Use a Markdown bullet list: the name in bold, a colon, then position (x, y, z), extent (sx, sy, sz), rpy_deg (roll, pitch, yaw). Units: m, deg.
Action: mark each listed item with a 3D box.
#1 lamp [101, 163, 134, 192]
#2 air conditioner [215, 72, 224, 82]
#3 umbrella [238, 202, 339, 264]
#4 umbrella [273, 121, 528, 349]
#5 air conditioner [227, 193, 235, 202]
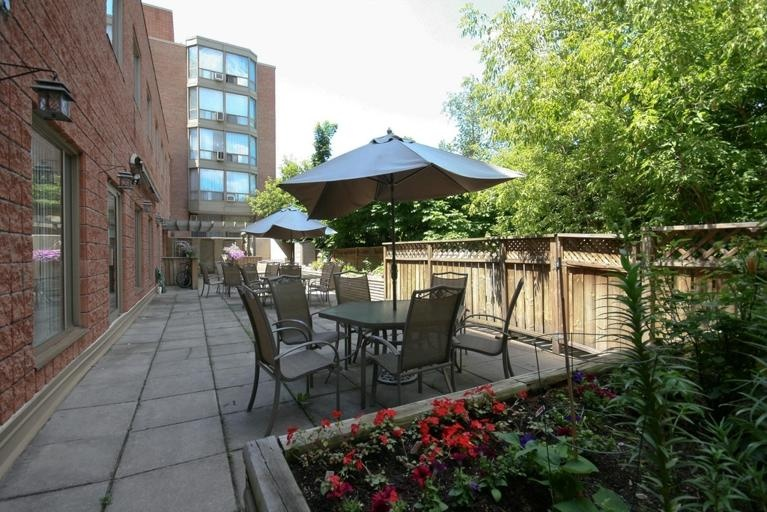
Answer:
- **lamp**: position (-4.205, -1.206, 7.938), extent (0.415, 0.600, 0.472), rpy_deg (-1, 8, -5)
- **air conditioner**: position (-8.740, -9.528, 26.855), extent (0.248, 0.473, 0.489), rpy_deg (-9, -9, 44)
- **umbrella**: position (-2.142, -0.364, 11.743), extent (2.040, 1.549, 2.065), rpy_deg (-5, 7, -24)
- **umbrella**: position (0.179, -0.150, 6.407), extent (2.518, 1.866, 2.538), rpy_deg (-1, 2, -19)
- **air conditioner**: position (-8.369, -3.225, 27.746), extent (0.464, 0.400, 0.240), rpy_deg (0, -3, -41)
